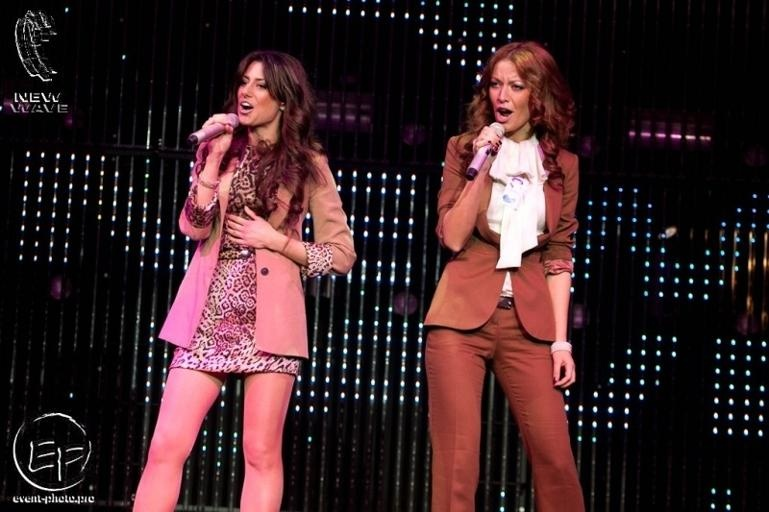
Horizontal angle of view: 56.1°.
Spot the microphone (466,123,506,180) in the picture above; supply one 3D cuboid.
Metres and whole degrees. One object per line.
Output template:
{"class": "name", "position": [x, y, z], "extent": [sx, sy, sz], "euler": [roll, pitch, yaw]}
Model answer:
{"class": "microphone", "position": [0.496, -0.509, 3.460], "extent": [0.082, 0.287, 0.390], "euler": [7, 7, 27]}

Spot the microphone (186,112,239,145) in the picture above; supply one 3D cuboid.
{"class": "microphone", "position": [-0.808, -0.628, 3.483], "extent": [0.096, 0.116, 0.386], "euler": [10, 26, 23]}

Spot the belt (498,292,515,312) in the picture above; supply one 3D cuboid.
{"class": "belt", "position": [0.583, 0.212, 3.469], "extent": [0.077, 0.079, 0.027], "euler": [6, 7, 8]}

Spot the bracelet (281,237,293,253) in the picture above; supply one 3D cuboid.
{"class": "bracelet", "position": [-0.480, -0.059, 3.557], "extent": [0.013, 0.059, 0.055], "euler": [26, -29, -20]}

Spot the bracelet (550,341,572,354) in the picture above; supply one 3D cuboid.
{"class": "bracelet", "position": [0.861, 0.436, 3.542], "extent": [0.067, 0.048, 0.063], "euler": [-2, -5, 38]}
